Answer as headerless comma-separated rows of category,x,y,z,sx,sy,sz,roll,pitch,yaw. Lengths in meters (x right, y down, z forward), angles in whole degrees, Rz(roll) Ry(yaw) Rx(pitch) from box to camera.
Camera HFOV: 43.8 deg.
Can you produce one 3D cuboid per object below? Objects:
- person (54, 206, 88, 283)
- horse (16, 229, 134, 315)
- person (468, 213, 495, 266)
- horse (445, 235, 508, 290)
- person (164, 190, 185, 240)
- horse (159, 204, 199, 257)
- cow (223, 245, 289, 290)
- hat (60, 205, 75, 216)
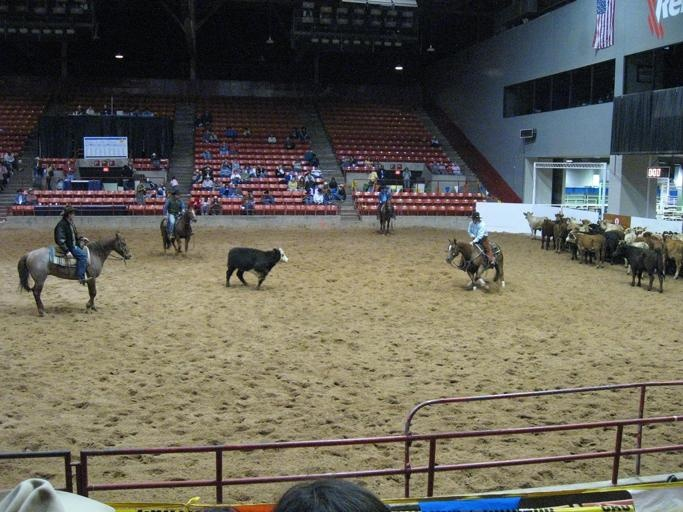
person,-6.828,-0.213,21.348,0.778,1.967,0.577,-6,8,-32
horse,-6.848,0.513,21.801,2.841,2.011,0.810,-4,-1,-16
person,4.138,-0.489,24.863,0.716,1.502,1.801,-1,7,10
horse,4.040,0.308,24.416,2.479,1.500,0.652,-1,-3,-37
person,-5.557,-1.302,27.992,0.553,1.570,0.810,-3,7,-11
horse,-5.442,-0.731,28.174,0.654,1.624,2.594,1,-1,-34
cow,-2.379,0.327,24.062,1.978,1.149,1.278,1,8,19
hat,-6.840,-1.063,21.120,0.271,0.238,0.362,-5,8,-23
